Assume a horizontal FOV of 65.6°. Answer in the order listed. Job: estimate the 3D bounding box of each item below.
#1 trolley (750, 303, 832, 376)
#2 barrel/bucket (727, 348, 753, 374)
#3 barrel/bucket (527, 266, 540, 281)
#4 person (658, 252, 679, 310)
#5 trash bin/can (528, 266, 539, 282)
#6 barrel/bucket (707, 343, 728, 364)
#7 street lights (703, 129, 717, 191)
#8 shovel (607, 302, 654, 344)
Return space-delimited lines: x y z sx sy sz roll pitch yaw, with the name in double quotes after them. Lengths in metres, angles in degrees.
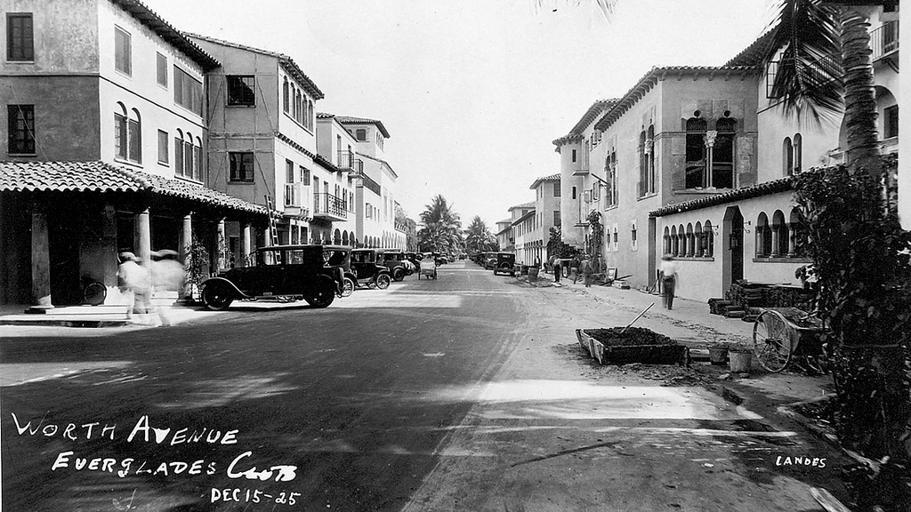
9.447 2.328 20.065 1.700 1.578 2.124 -4 4 -11 "trolley"
7.933 2.964 19.728 0.601 0.636 0.603 0 -7 0 "barrel/bucket"
5.820 1.345 52.342 1.007 1.155 1.040 -1 0 0 "barrel/bucket"
9.052 1.147 30.170 0.630 1.786 1.159 -2 -2 16 "person"
5.667 1.349 52.281 0.988 1.177 1.014 -1 0 -2 "trash bin/can"
7.591 2.835 20.493 0.491 0.463 0.509 4 6 0 "barrel/bucket"
13.384 -5.020 37.120 0.630 2.585 0.929 -2 -1 20 "street lights"
6.201 2.398 25.086 1.489 0.249 0.216 -41 -12 18 "shovel"
